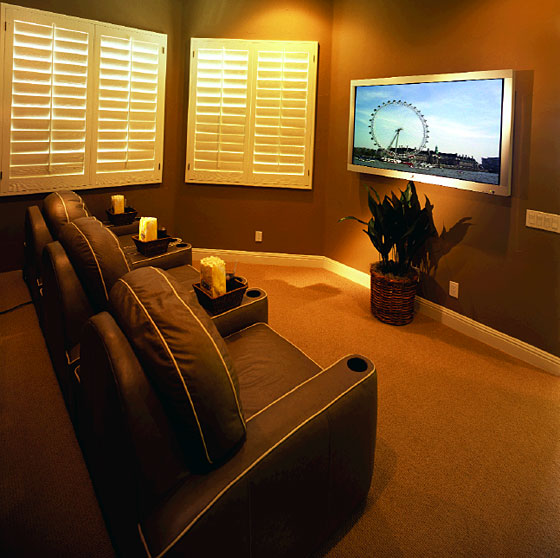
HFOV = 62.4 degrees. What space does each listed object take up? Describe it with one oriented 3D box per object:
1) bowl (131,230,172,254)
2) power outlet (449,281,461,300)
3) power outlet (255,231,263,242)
[{"bbox_3d":[-0.884,-0.233,3.225,0.197,0.122,0.163,-1,13,-24],"label":"bowl"},{"bbox_3d":[1.305,0.081,3.443,0.014,0.183,0.109,-1,4,-21],"label":"power outlet"},{"bbox_3d":[-0.222,-0.448,4.788,0.068,0.092,0.020,3,8,8],"label":"power outlet"}]
